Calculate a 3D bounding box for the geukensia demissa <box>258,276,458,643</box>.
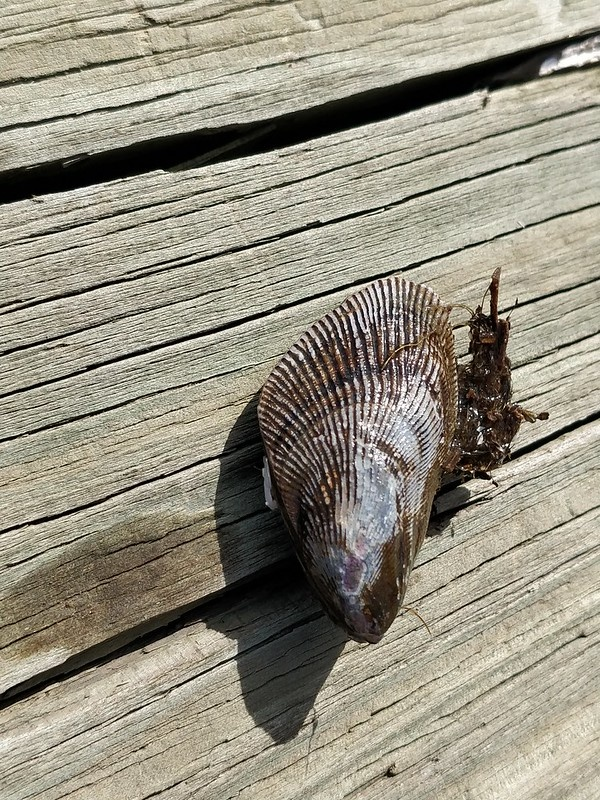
[{"bbox_3d":[0.144,0.107,1.950,0.188,0.571,0.731,8,101,31],"label":"geukensia demissa"}]
